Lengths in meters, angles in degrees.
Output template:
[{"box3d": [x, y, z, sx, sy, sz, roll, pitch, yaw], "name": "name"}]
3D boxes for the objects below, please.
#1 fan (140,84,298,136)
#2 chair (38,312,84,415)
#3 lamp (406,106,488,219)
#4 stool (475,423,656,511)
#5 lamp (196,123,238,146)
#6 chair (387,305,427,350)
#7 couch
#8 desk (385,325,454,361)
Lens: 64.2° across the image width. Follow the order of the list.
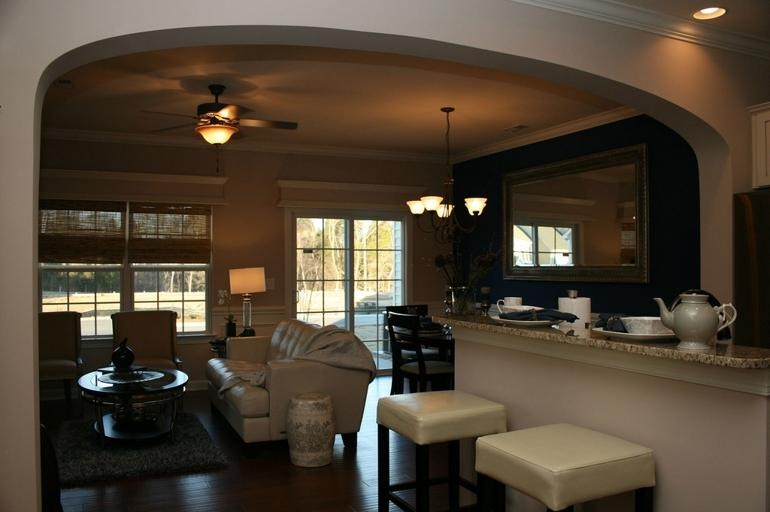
[{"box3d": [-1.495, -1.356, 5.991, 0.901, 0.323, 0.913, 2, -5, -6], "name": "fan"}, {"box3d": [-3.743, 1.034, 7.094, 0.421, 0.700, 0.612, -1, 4, -28], "name": "chair"}, {"box3d": [0.732, -1.090, 7.350, 0.849, 1.601, 1.108, 1, -9, 6], "name": "lamp"}, {"box3d": [0.939, 1.004, 3.447, 0.597, 0.448, 0.592, 1, -5, -27], "name": "stool"}, {"box3d": [-1.575, -1.185, 5.969, 0.252, 0.084, 0.258, -1, -2, 21], "name": "lamp"}, {"box3d": [0.277, 0.856, 8.295, 0.357, 0.622, 0.321, 0, 1, -26], "name": "chair"}, {"box3d": [-0.932, 1.214, 6.199, 1.187, 0.926, 1.745, 2, -5, -20], "name": "couch"}, {"box3d": [0.420, 0.994, 6.983, 0.705, 0.531, 1.137, 2, 4, 6], "name": "desk"}]
